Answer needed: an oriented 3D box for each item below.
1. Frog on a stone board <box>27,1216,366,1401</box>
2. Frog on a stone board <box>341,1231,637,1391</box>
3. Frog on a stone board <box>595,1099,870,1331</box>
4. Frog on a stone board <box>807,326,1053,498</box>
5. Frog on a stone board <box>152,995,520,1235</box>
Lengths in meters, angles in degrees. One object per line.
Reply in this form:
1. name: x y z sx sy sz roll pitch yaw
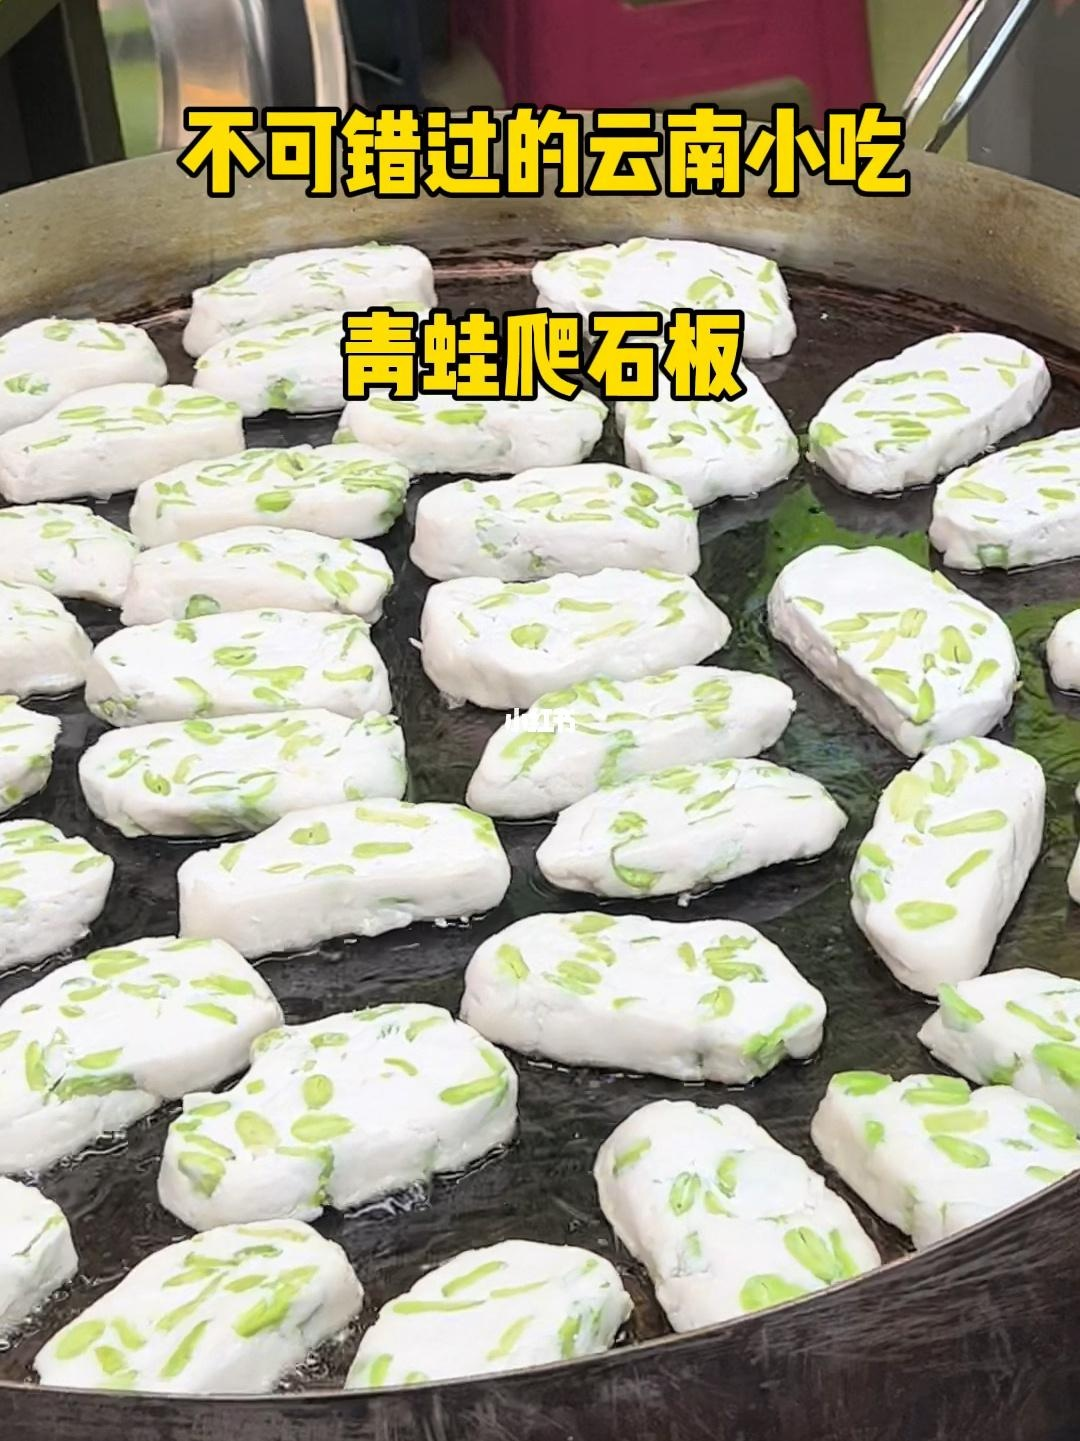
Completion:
1. Frog on a stone board: -0.193 0.333 0.751 0.133 0.029 0.090 -14 22 -28
2. Frog on a stone board: -0.027 0.342 0.762 0.161 0.066 0.094 0 -13 0
3. Frog on a stone board: 0.124 0.305 0.819 0.112 0.116 0.148 7 -15 -26
4. Frog on a stone board: 0.490 -0.380 1.623 0.335 0.062 0.182 -26 48 -22
5. Frog on a stone board: -0.142 0.264 0.887 0.201 0.042 0.129 -10 28 -16
